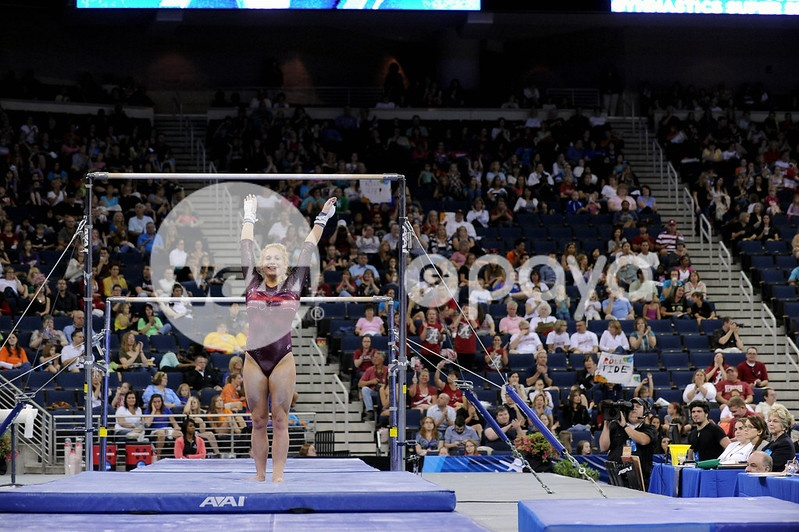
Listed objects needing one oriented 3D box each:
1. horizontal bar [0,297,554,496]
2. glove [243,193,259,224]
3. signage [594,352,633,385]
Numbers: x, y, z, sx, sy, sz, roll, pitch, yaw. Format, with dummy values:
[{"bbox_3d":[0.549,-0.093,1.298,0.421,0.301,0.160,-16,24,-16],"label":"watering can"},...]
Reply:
[{"bbox_3d":[-1.478,2.050,31.827,6.956,2.712,4.667,-1,-29,-9],"label":"horizontal bar"},{"bbox_3d":[-2.761,-1.071,28.737,0.242,0.577,0.353,-1,-8,-8],"label":"glove"},{"bbox_3d":[4.686,2.251,33.641,0.792,0.585,0.081,7,1,4],"label":"signage"}]
